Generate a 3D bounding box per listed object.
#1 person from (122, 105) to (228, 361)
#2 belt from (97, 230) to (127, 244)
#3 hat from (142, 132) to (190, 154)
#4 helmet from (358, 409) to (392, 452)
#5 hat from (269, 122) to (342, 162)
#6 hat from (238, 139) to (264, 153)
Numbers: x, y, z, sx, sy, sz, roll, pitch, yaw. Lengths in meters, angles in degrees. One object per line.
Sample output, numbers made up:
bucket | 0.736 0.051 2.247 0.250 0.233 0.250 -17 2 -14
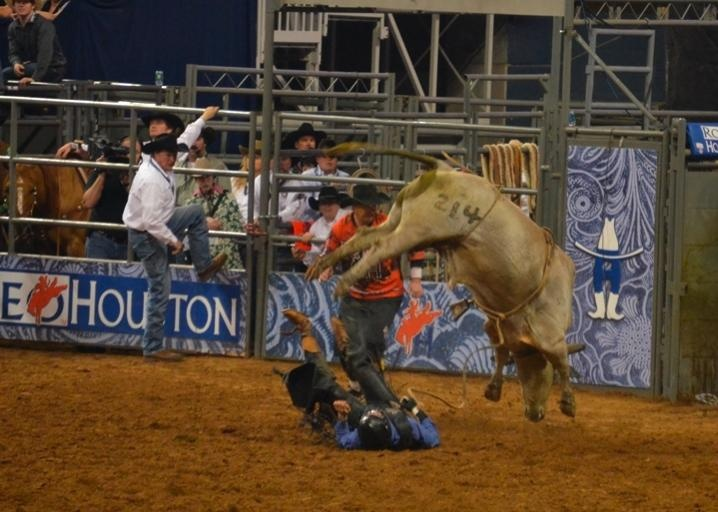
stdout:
person | -2.829 -0.357 24.853 0.726 3.712 1.265 0 -2 45
belt | -3.655 -0.287 25.439 0.234 0.242 0.065 3 37 2
hat | -2.830 -1.586 24.537 0.402 0.167 0.365 2 -7 -31
helmet | 0.191 2.174 21.826 0.356 0.508 0.475 -5 22 -6
hat | -0.850 -1.684 25.512 0.771 0.408 0.986 -1 -4 -12
hat | -1.738 -1.659 27.316 0.340 0.162 0.418 5 -21 -10
